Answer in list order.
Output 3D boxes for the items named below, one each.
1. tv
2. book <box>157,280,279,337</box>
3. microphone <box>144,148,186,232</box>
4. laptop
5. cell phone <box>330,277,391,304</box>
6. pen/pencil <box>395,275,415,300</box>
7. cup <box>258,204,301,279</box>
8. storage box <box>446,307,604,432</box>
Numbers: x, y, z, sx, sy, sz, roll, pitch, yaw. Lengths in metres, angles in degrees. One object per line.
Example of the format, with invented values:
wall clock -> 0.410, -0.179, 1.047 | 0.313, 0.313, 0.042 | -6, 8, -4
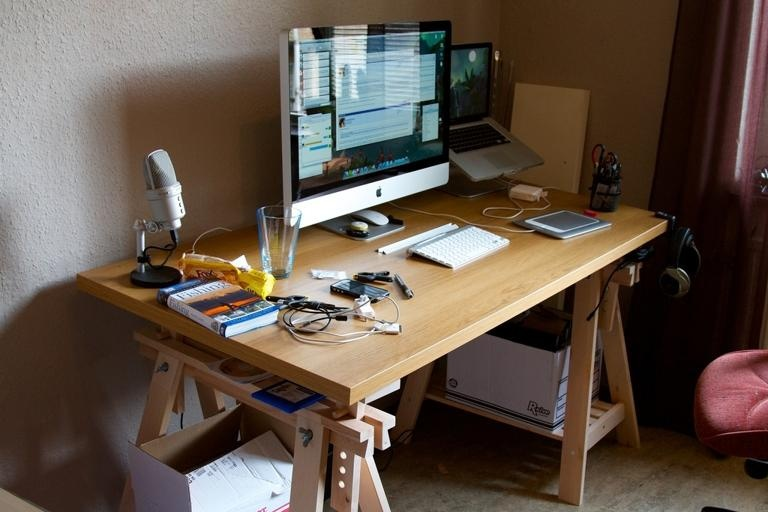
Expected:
tv -> -0.080, -0.430, 2.027 | 0.735, 0.598, 0.074 | -20, 28, -37
book -> -0.452, 0.134, 1.614 | 0.309, 0.067, 0.156 | 14, 28, 32
microphone -> -0.641, -0.186, 1.735 | 0.095, 0.229, 0.080 | -18, 29, -34
laptop -> 0.404, -0.580, 2.598 | 0.484, 0.654, 0.269 | -15, 27, -35
cell phone -> -0.076, 0.098, 1.716 | 0.126, 0.017, 0.073 | 20, 28, 32
pen/pencil -> 0.055, 0.090, 1.752 | 0.026, 0.026, 0.107 | -45, 32, 0
cup -> -0.315, -0.061, 1.854 | 0.121, 0.229, 0.147 | 13, 20, 36
storage box -> 0.544, 0.447, 2.550 | 0.660, 0.481, 0.450 | 21, 23, 34
